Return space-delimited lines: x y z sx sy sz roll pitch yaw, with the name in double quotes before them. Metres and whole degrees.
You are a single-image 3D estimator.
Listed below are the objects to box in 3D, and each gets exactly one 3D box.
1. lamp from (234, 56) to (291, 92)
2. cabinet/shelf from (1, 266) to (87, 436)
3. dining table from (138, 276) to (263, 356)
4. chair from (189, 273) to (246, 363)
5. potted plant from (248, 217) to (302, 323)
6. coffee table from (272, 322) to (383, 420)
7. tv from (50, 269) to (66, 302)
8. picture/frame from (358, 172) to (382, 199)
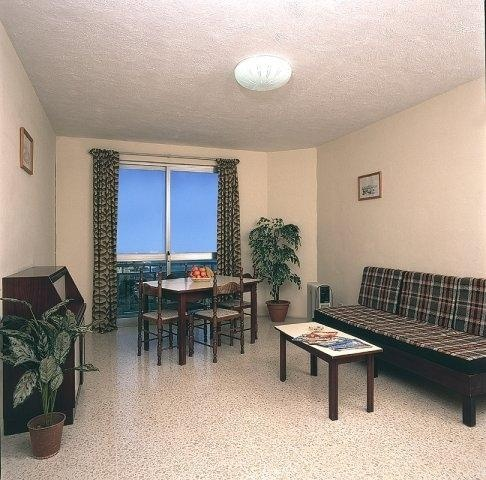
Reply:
"lamp" 0.177 -1.410 3.407 0.469 0.202 0.290 0 3 6
"cabinet/shelf" -1.355 0.774 2.737 0.429 0.849 1.175 -1 1 -18
"dining table" -0.468 0.832 4.813 1.169 0.753 0.878 -4 6 -33
"chair" -0.290 0.842 4.609 0.603 0.845 0.627 0 -2 -19
"potted plant" 0.491 0.422 6.271 0.838 1.576 0.737 1 3 21
"coffee table" 0.667 1.054 3.404 0.472 0.449 0.949 0 0 -22
"tv" -1.474 0.355 3.247 0.094 0.241 0.289 3 -3 -13
"picture/frame" 1.605 -0.692 5.083 0.027 0.322 0.395 0 1 -22
